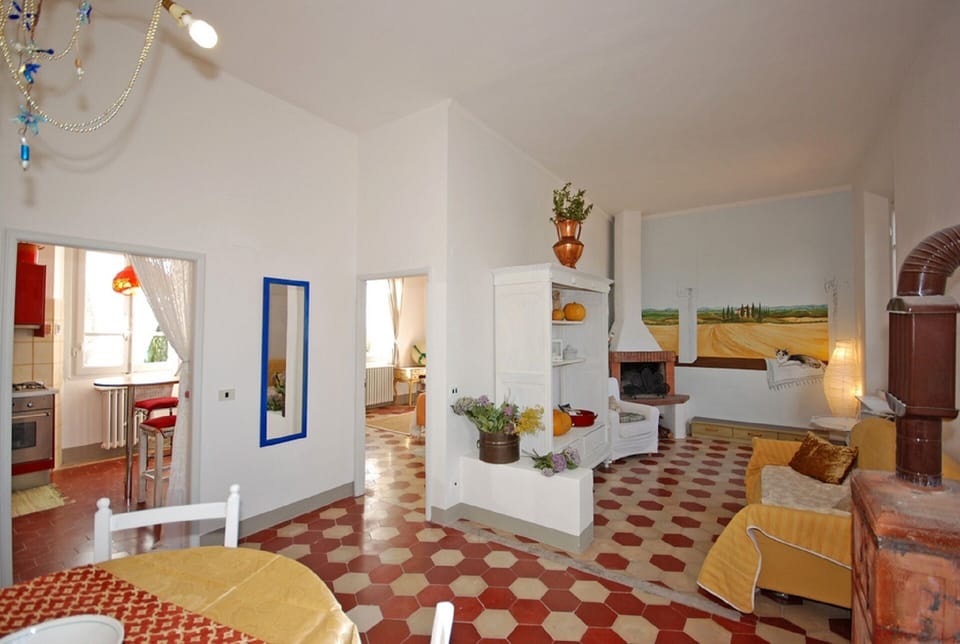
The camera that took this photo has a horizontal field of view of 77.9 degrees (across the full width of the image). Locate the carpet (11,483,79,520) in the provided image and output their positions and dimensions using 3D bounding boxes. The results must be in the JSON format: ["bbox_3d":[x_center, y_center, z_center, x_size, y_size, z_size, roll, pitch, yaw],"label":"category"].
[{"bbox_3d":[-4.564,1.843,6.161,0.474,0.050,0.692,-10,17,-39],"label":"carpet"}]

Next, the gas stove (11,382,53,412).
[{"bbox_3d":[-4.908,0.818,6.506,0.371,0.256,0.439,-10,17,-39],"label":"gas stove"}]

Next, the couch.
[{"bbox_3d":[2.740,1.053,4.951,1.451,1.089,2.394,-3,-1,33],"label":"couch"}]

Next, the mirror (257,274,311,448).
[{"bbox_3d":[-1.932,0.374,5.880,0.673,1.608,0.413,-8,16,-33],"label":"mirror"}]

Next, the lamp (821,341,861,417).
[{"bbox_3d":[4.678,0.738,7.658,0.395,0.919,0.542,7,15,24],"label":"lamp"}]

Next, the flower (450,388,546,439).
[{"bbox_3d":[0.169,0.945,5.861,0.669,0.308,0.479,9,-18,-30],"label":"flower"}]

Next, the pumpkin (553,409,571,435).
[{"bbox_3d":[0.903,1.110,6.525,0.240,0.225,0.242,-12,-2,23],"label":"pumpkin"}]

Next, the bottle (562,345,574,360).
[{"bbox_3d":[1.077,0.381,7.252,0.116,0.127,0.143,-2,-7,6],"label":"bottle"}]

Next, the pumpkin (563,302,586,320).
[{"bbox_3d":[1.102,-0.123,7.002,0.206,0.199,0.210,-4,2,39],"label":"pumpkin"}]

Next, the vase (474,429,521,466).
[{"bbox_3d":[0.195,1.248,5.943,0.324,0.210,0.340,3,-5,-31],"label":"vase"}]

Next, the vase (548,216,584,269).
[{"bbox_3d":[0.950,-0.841,6.491,0.323,0.552,0.625,3,13,6],"label":"vase"}]

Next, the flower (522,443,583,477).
[{"bbox_3d":[0.707,1.331,5.648,0.307,0.156,0.282,2,3,28],"label":"flower"}]

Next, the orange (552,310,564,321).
[{"bbox_3d":[0.899,-0.072,6.834,0.102,0.068,0.124,7,14,40],"label":"orange"}]

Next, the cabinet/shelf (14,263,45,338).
[{"bbox_3d":[-4.934,-0.284,6.521,0.315,0.707,0.145,-9,17,-36],"label":"cabinet/shelf"}]

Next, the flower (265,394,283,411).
[{"bbox_3d":[-2.011,0.794,5.825,0.135,0.134,0.135,11,-2,7],"label":"flower"}]
